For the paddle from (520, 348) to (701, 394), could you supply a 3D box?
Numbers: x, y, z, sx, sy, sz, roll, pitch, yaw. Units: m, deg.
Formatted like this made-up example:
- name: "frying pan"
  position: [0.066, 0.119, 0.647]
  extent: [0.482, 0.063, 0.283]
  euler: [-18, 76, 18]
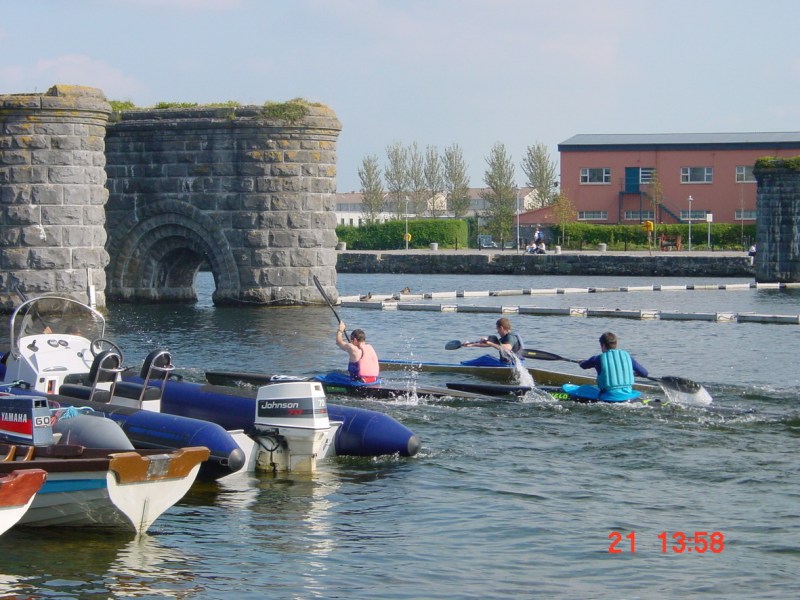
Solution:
- name: "paddle"
  position: [4.118, 1.441, 31.264]
  extent: [3.182, 0.383, 0.204]
  euler: [12, 18, 13]

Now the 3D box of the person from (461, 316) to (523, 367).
- name: "person"
  position: [1.911, 0.934, 32.369]
  extent: [1.337, 1.098, 0.820]
  euler: [8, 7, 1]
